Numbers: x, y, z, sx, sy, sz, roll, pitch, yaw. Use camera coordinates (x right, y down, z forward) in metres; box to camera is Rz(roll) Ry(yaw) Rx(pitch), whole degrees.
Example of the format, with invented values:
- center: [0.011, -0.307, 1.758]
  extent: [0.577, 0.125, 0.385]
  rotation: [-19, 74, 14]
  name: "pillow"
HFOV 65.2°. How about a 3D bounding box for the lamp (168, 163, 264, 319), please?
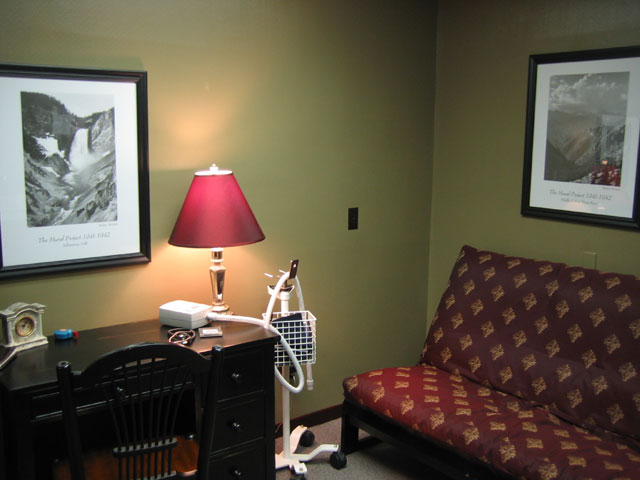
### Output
- center: [-0.535, 0.010, 2.544]
  extent: [0.405, 0.759, 0.305]
  rotation: [9, 14, 29]
  name: "lamp"
